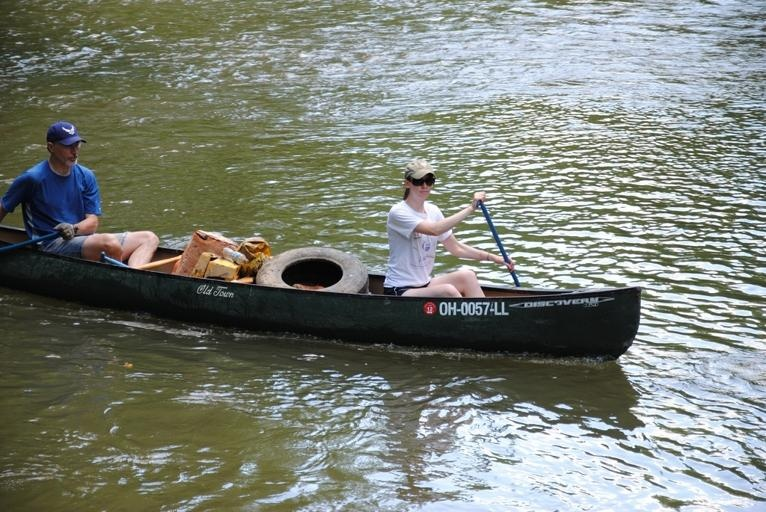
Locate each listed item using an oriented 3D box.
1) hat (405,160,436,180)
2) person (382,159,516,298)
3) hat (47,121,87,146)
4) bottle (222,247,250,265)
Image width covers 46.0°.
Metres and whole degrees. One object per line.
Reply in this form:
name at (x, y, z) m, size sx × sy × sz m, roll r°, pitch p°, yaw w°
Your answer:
hat at (0.429, -1.039, 10.967) m, size 0.317 × 0.137 × 0.409 m, roll -2°, pitch -4°, yaw -39°
person at (0.693, -0.279, 11.012) m, size 1.360 × 1.774 × 1.011 m, roll 2°, pitch 34°, yaw 4°
hat at (-4.306, -1.569, 11.760) m, size 0.666 × 0.199 × 0.341 m, roll -2°, pitch 7°, yaw 11°
bottle at (-1.947, 0.003, 11.756) m, size 0.345 × 0.103 × 0.154 m, roll 11°, pitch -10°, yaw 35°
